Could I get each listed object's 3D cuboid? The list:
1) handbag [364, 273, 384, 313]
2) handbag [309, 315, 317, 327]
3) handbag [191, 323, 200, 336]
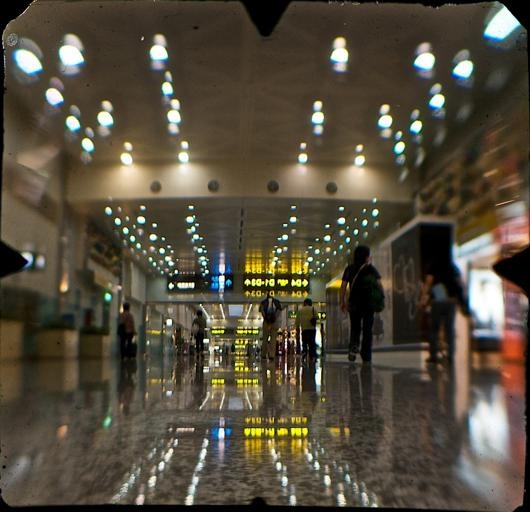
[{"bbox_3d":[1.209,0.398,4.747,0.206,0.411,0.090,-18,9,-41],"label":"handbag"},{"bbox_3d":[1.125,1.480,9.917,0.108,0.251,0.348,-2,-4,25],"label":"handbag"},{"bbox_3d":[-2.176,2.276,13.539,0.126,0.455,0.768,0,-4,-16],"label":"handbag"}]
